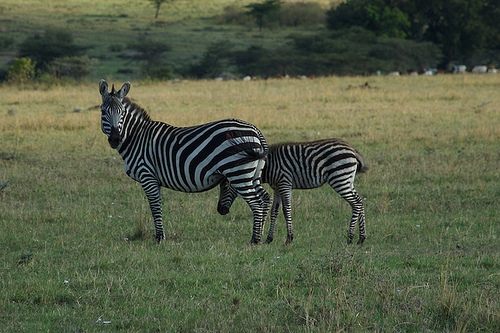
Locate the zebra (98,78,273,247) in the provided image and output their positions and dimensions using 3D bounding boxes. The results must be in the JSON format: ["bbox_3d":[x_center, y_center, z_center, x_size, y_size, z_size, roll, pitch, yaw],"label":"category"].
[{"bbox_3d":[-3.587,0.154,53.279,10.179,8.258,3.165,3,14,20],"label":"zebra"}]
